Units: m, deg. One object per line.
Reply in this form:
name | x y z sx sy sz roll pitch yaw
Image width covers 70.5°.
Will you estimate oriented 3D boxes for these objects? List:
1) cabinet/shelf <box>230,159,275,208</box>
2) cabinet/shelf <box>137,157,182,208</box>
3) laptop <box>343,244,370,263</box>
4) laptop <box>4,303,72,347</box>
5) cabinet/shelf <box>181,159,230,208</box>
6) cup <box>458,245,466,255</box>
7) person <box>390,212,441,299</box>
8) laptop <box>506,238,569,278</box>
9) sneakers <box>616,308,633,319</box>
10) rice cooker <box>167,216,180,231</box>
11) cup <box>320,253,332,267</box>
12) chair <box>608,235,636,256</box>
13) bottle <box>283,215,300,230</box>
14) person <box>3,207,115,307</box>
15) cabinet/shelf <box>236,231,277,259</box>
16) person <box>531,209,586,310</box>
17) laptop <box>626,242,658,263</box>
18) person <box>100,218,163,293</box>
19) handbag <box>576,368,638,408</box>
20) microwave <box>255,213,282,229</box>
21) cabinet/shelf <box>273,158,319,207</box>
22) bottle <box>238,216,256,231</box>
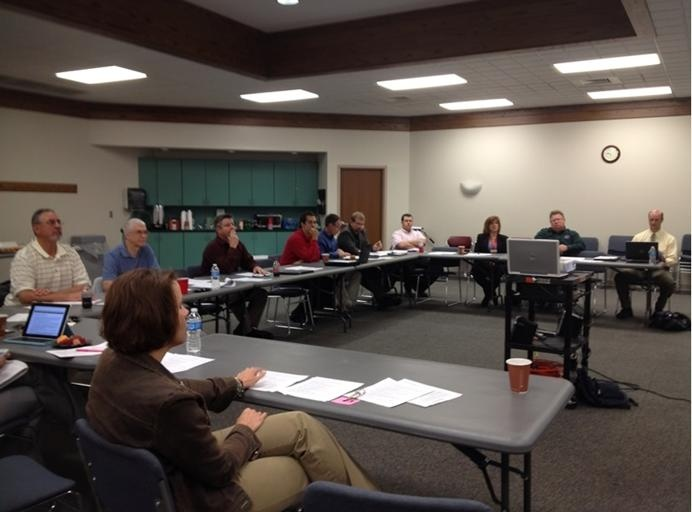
cabinet/shelf | -1.988 -1.484 10.502 0.989 1.006 0.703 -2 -7 -1
cabinet/shelf | -3.765 -1.539 10.049 0.888 0.935 0.328 1 6 -2
laptop | 0.160 -0.036 6.458 0.198 0.214 0.296 24 19 36
laptop | -1.775 0.394 2.809 0.280 0.199 0.252 4 2 12
cabinet/shelf | -2.951 -1.645 10.266 0.992 0.997 0.690 -5 24 -27
cup | 1.779 -0.132 7.561 0.114 0.218 0.221 1 3 20
person | 1.139 -0.009 8.192 0.682 1.390 0.757 -5 4 -14
laptop | 1.623 0.043 4.355 0.441 0.325 0.341 2 -9 10
sneakers | 3.789 0.789 6.636 0.285 0.118 0.100 3 2 -23
rice cooker | -3.495 -0.658 9.964 0.237 0.123 0.328 2 12 -20
cup | -0.265 0.034 6.385 0.134 0.147 0.139 0 4 0
chair | 4.354 -0.160 7.751 0.334 0.433 0.371 1 0 29
bottle | -1.182 -0.693 10.531 0.362 0.244 0.352 0 0 0
person | -2.448 0.008 4.016 0.601 0.779 0.538 -5 9 -35
cabinet/shelf | -1.653 -0.228 9.016 0.508 0.469 0.195 2 -2 -27
person | 3.276 0.008 7.575 0.770 1.370 0.702 -2 3 29
laptop | 3.817 -0.052 6.329 0.354 0.266 0.255 2 4 33
person | -1.898 0.047 4.412 0.415 0.794 0.547 3 5 30
handbag | 2.040 1.015 3.860 0.371 0.146 0.299 4 7 0
microwave | -1.595 -0.722 10.256 0.441 0.300 0.310 -1 1 -28
cabinet/shelf | -1.073 -1.503 10.686 0.959 0.987 0.665 -1 -10 0
bottle | -2.104 -0.694 10.360 0.308 0.296 0.163 0 -3 -45
